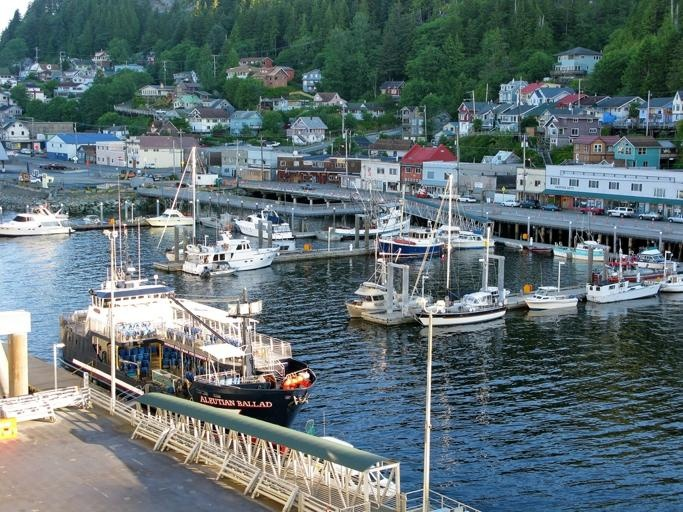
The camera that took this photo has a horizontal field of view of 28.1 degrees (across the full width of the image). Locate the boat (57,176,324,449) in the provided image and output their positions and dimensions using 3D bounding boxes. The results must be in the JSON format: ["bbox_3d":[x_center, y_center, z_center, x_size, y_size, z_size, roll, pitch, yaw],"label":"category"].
[{"bbox_3d":[-9.422,5.234,73.790,6.567,10.690,19.885,-10,15,-42],"label":"boat"}]
